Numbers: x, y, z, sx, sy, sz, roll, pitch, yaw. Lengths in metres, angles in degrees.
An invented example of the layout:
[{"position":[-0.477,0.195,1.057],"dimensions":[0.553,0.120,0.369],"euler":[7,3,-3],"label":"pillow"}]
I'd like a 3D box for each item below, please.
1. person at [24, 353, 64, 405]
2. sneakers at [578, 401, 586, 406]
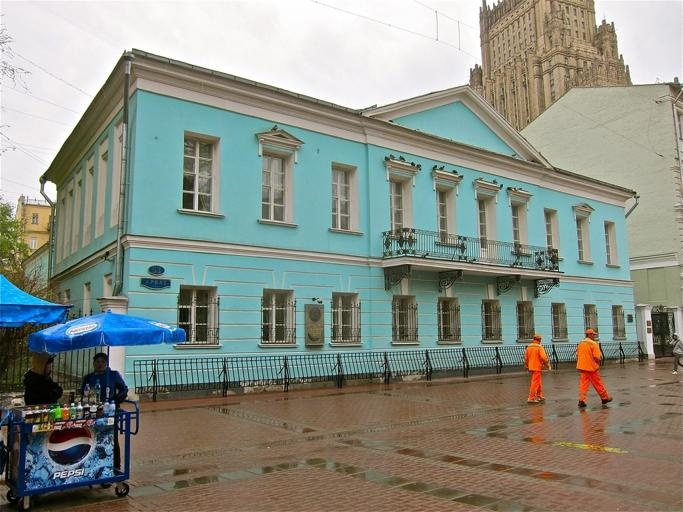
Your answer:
[{"position":[-5.328,2.300,10.724],"dimensions":[0.651,1.065,0.525],"euler":[0,-3,-21],"label":"person"},{"position":[6.472,4.006,16.258],"dimensions":[0.098,0.200,0.303],"euler":[0,0,38],"label":"sneakers"}]
